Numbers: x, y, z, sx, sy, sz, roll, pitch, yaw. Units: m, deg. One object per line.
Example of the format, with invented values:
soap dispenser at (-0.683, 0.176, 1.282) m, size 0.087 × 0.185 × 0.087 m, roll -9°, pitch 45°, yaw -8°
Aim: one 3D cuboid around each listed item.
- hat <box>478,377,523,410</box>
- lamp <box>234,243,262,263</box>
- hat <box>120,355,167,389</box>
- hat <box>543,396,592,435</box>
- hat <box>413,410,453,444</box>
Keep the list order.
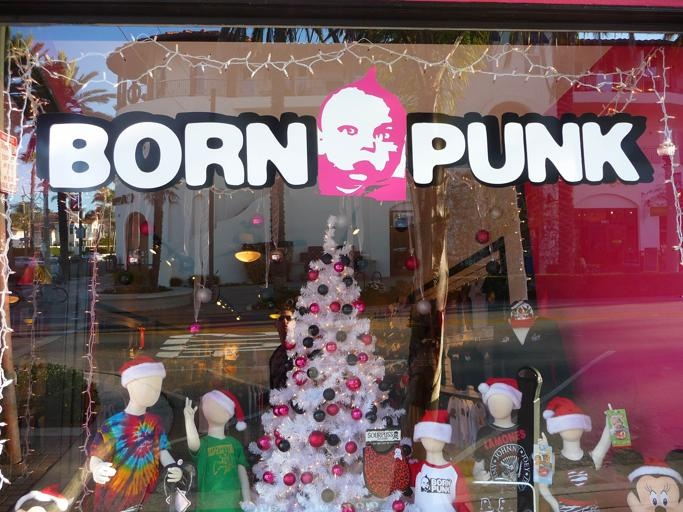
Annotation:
hat at (0.925, 0.798, 3.483) m, size 0.197 × 0.164 × 0.157 m, roll -2°, pitch -3°, yaw 17°
lamp at (-0.638, -0.010, 4.058) m, size 0.193 × 0.131 × 0.030 m, roll -2°, pitch -5°, yaw 17°
hat at (-1.141, 0.659, 3.436) m, size 0.189 × 0.128 × 0.172 m, roll -26°, pitch -19°, yaw 31°
hat at (1.313, 0.913, 3.446) m, size 0.227 × 0.198 × 0.176 m, roll -2°, pitch -7°, yaw 31°
hat at (0.524, 0.973, 3.374) m, size 0.138 × 0.109 × 0.199 m, roll -1°, pitch 11°, yaw 5°
